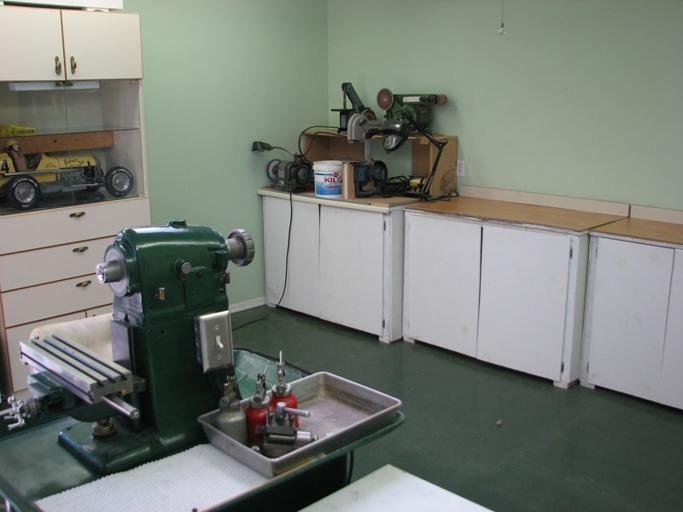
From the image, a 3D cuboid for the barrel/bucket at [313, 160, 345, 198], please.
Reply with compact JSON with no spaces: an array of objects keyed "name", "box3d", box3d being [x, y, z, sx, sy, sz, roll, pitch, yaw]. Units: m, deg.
[{"name":"barrel/bucket","box3d":[-0.102,-0.614,4.493,0.308,0.268,0.310,1,7,0]}]
